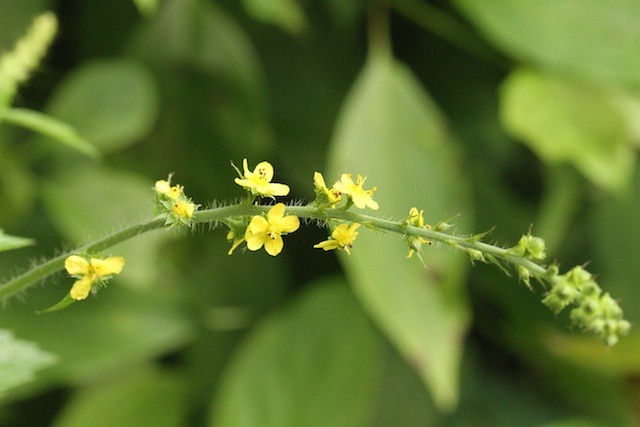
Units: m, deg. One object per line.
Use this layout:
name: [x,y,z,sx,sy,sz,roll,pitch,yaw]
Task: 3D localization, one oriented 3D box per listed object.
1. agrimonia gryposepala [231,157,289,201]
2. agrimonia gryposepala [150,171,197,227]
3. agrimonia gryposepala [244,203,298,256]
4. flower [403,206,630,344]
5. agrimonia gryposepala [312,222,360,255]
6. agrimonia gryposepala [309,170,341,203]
agrimonia gryposepala: [-0.111,-0.064,1.166,0.098,0.082,0.095,12,23,-3]
agrimonia gryposepala: [-0.279,-0.016,1.145,0.061,0.093,0.080,-11,33,-45]
agrimonia gryposepala: [-0.099,0.029,1.154,0.110,0.043,0.111,24,26,35]
flower: [0.393,0.093,1.195,0.439,0.159,0.253,21,24,15]
agrimonia gryposepala: [0.037,0.041,1.186,0.073,0.048,0.071,2,2,-41]
agrimonia gryposepala: [0.014,-0.046,1.165,0.046,0.051,0.068,-3,28,-35]
